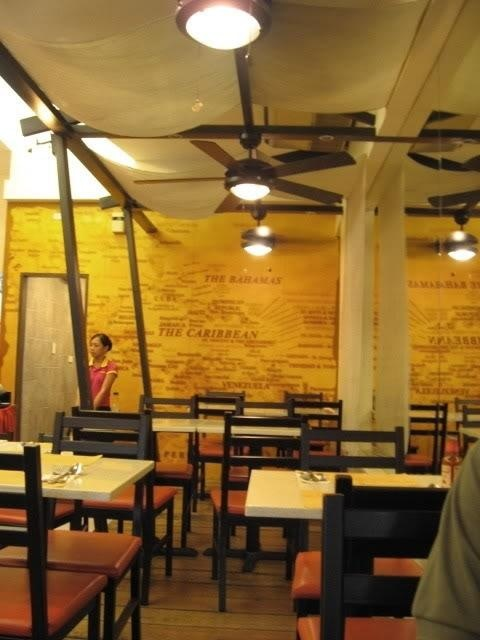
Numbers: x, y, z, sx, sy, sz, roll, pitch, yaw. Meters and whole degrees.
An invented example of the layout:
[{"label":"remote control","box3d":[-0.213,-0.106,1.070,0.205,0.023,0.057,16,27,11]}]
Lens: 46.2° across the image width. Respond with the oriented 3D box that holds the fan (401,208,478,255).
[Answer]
[{"label":"fan","box3d":[1.009,-0.437,2.838,0.330,0.114,0.306,-3,-23,17]}]
